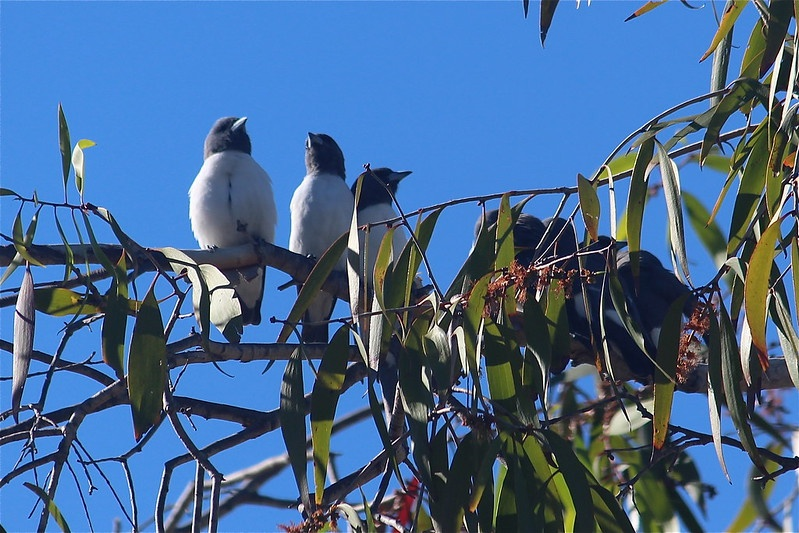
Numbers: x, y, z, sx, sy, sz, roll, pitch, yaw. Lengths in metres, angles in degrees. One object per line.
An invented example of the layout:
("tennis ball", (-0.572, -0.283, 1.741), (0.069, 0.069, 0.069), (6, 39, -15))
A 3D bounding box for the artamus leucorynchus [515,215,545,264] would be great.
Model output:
("artamus leucorynchus", (0.413, -0.077, 5.247), (0.052, 0.116, 0.167), (13, -89, -31))

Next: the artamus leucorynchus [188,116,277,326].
("artamus leucorynchus", (-0.702, -0.222, 6.918), (0.324, 0.697, 0.708), (-6, -38, -4))
